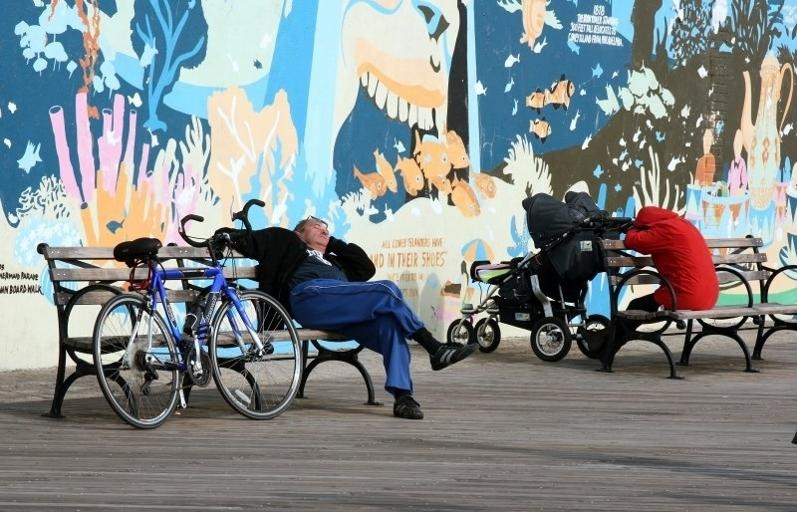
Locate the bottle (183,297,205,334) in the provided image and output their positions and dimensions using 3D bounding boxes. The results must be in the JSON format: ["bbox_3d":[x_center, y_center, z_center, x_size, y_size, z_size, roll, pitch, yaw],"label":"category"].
[{"bbox_3d":[-1.939,0.558,10.505,0.210,0.353,0.130,18,-25,-35],"label":"bottle"}]

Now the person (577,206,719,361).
[{"bbox_3d":[2.859,0.377,12.974,0.829,1.283,1.904,0,-3,42],"label":"person"}]

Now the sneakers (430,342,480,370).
[{"bbox_3d":[0.526,0.966,10.637,0.448,0.291,0.189,4,12,20],"label":"sneakers"}]

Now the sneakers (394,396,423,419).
[{"bbox_3d":[0.084,1.449,10.490,0.152,0.133,0.298,1,-5,-34],"label":"sneakers"}]
